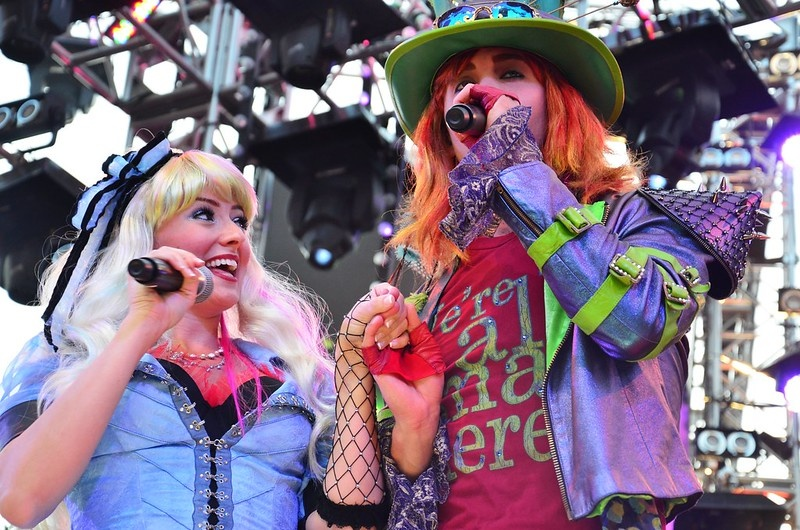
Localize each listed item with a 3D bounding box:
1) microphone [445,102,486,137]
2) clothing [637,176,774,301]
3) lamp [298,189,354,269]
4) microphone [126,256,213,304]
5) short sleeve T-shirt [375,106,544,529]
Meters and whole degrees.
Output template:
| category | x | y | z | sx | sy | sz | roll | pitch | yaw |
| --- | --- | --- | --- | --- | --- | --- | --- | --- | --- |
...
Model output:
| category | x | y | z | sx | sy | sz | roll | pitch | yaw |
| --- | --- | --- | --- | --- | --- | --- | --- | --- | --- |
| microphone | 0.267 | -0.592 | 3.886 | 0.150 | 0.134 | 0.106 | 18 | -24 | -36 |
| clothing | 1.173 | -0.166 | 3.858 | 0.475 | 0.347 | 0.278 | 31 | -34 | 15 |
| lamp | -0.556 | -0.294 | 8.273 | 0.539 | 0.655 | 0.566 | 0 | -49 | 1 |
| microphone | -0.944 | 0.077 | 3.989 | 0.145 | 0.156 | 0.342 | -7 | -21 | 30 |
| short sleeve T-shirt | 0.324 | 0.250 | 3.983 | 0.344 | 1.600 | 0.839 | 9 | -15 | -38 |
